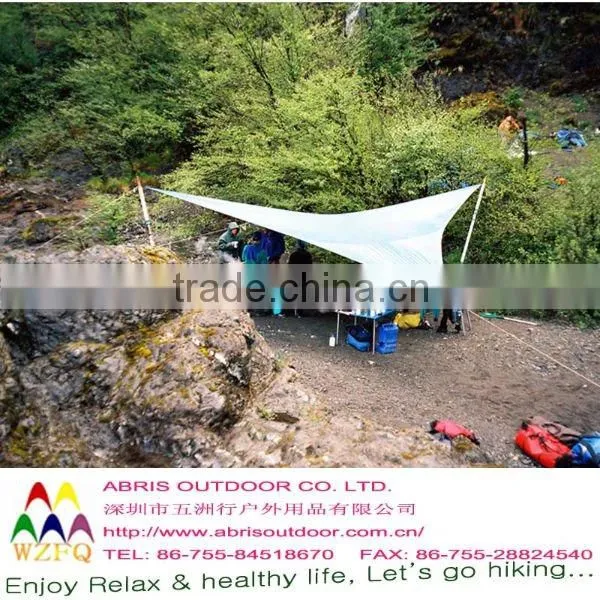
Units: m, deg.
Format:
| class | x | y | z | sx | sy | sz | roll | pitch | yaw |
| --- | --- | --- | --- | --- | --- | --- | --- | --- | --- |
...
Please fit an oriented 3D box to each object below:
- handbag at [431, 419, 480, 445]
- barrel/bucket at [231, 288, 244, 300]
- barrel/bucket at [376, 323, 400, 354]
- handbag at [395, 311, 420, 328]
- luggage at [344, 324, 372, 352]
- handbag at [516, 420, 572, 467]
| class | x | y | z | sx | sy | sz | roll | pitch | yaw |
| --- | --- | --- | --- | --- | --- | --- | --- | --- | --- |
| handbag | 1.800 | 1.508 | 6.036 | 0.378 | 0.091 | 0.325 | 4 | 7 | -27 |
| barrel/bucket | -1.221 | -0.105 | 10.089 | 0.237 | 0.176 | 0.208 | 0 | -1 | -13 |
| barrel/bucket | 1.437 | 0.658 | 8.690 | 0.358 | 0.541 | 0.502 | 3 | 35 | 7 |
| handbag | 2.015 | 0.376 | 9.850 | 0.347 | 0.196 | 0.434 | 0 | 7 | 32 |
| luggage | 1.008 | 0.657 | 8.851 | 0.334 | 0.291 | 0.508 | -3 | 17 | -18 |
| handbag | 2.716 | 1.612 | 5.878 | 0.353 | 0.173 | 0.485 | -19 | 28 | -22 |
